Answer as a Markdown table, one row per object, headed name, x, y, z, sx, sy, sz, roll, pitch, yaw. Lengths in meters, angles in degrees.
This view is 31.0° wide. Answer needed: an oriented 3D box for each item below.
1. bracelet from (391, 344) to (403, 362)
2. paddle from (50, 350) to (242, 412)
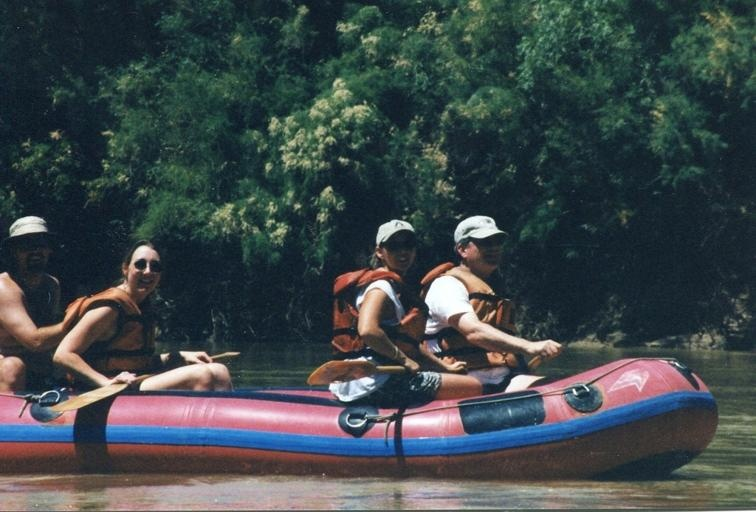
| name | x | y | z | sx | sy | sz | roll | pitch | yaw |
| --- | --- | --- | --- | --- | --- | --- | --- | --- | --- |
| bracelet | 0.338 | 1.655 | 22.792 | 0.076 | 0.217 | 0.216 | -44 | -4 | 30 |
| paddle | -4.063 | 2.176 | 23.200 | 2.506 | 0.193 | 0.376 | -16 | 17 | -25 |
